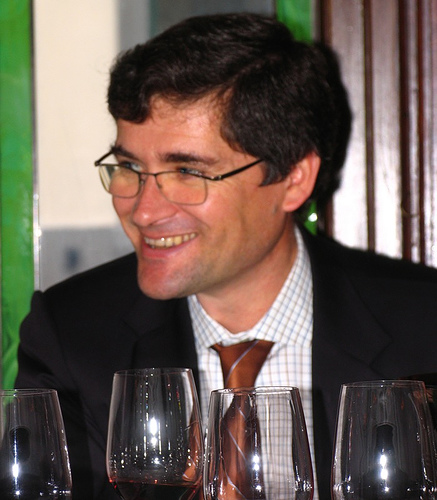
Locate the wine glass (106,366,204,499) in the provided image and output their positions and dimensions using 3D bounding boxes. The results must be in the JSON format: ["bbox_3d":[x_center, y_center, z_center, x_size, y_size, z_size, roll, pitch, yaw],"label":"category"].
[{"bbox_3d":[-0.070,0.200,0.796,0.129,0.205,0.129,0,-10,-3],"label":"wine glass"}]
